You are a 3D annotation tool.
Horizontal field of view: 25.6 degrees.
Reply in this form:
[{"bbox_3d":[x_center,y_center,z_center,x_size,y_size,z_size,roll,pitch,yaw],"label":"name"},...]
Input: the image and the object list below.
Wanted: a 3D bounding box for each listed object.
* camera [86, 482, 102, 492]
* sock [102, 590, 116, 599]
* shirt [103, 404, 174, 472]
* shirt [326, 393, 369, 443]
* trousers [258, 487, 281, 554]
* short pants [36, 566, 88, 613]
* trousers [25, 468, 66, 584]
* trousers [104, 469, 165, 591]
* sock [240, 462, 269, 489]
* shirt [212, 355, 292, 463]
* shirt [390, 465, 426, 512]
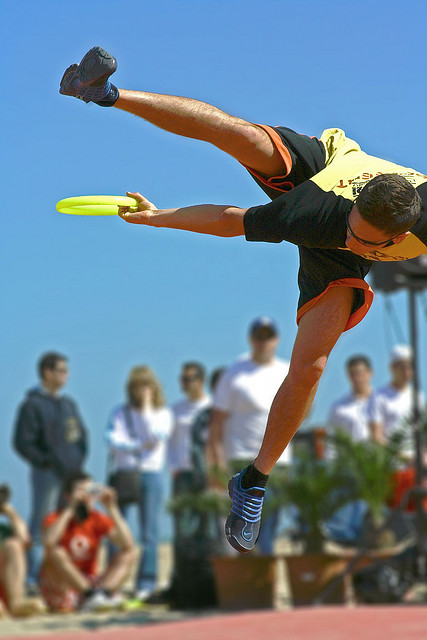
[{"bbox_3d":[-0.589,0.811,4.583,0.025,0.046,0.099,-3,-10,26],"label":"camera"},{"bbox_3d":[-0.520,1.340,4.617,0.052,0.046,0.018,0,-14,-8],"label":"sock"},{"bbox_3d":[-0.428,0.594,4.861,0.412,0.365,0.270,15,-22,-38],"label":"shirt"},{"bbox_3d":[1.100,0.729,7.301,0.290,0.346,0.444,6,-11,-21],"label":"shirt"},{"bbox_3d":[0.368,1.371,6.124,0.163,0.285,0.118,4,-12,-10],"label":"trousers"},{"bbox_3d":[-0.715,1.269,4.446,0.267,0.211,0.025,9,-13,-36],"label":"short pants"},{"bbox_3d":[-0.797,0.965,4.449,0.187,0.523,0.051,13,-16,-41],"label":"trousers"},{"bbox_3d":[-0.401,1.061,4.846,0.296,0.627,0.214,-2,-6,-45],"label":"trousers"},{"bbox_3d":[0.176,0.648,3.926,0.087,0.107,0.124,7,-11,-24],"label":"sock"},{"bbox_3d":[0.206,0.563,6.161,0.276,0.680,0.713,-8,-14,41],"label":"shirt"},{"bbox_3d":[1.021,0.889,5.033,0.175,0.217,0.213,7,24,8],"label":"shirt"}]
